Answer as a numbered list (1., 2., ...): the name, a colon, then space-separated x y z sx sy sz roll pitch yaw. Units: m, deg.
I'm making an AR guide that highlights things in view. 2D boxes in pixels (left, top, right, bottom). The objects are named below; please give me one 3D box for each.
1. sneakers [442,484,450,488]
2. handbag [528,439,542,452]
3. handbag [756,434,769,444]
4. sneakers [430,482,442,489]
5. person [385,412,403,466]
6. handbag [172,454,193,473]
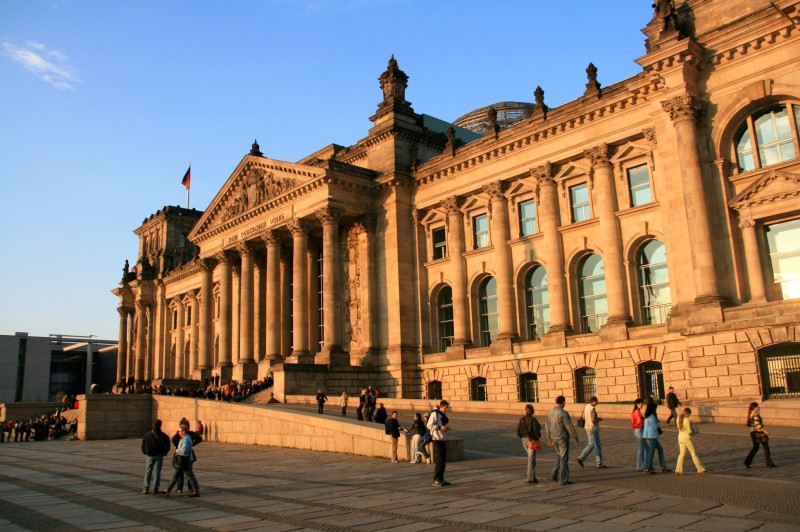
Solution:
1. sneakers: 1.553 7.199 23.149 0.214 0.123 0.436 -4 -13 9
2. handbag: 4.386 5.831 22.796 0.276 0.384 0.436 1 -15 -13
3. handbag: 12.476 5.922 24.130 0.437 0.333 0.273 -7 -24 19
4. sneakers: 1.180 7.205 23.100 0.163 0.153 0.400 10 -22 -25
5. person: -0.263 7.003 28.706 0.674 2.023 0.981 -2 -16 -3
6. handbag: -7.320 6.485 23.225 0.864 0.523 0.641 -3 -7 4
